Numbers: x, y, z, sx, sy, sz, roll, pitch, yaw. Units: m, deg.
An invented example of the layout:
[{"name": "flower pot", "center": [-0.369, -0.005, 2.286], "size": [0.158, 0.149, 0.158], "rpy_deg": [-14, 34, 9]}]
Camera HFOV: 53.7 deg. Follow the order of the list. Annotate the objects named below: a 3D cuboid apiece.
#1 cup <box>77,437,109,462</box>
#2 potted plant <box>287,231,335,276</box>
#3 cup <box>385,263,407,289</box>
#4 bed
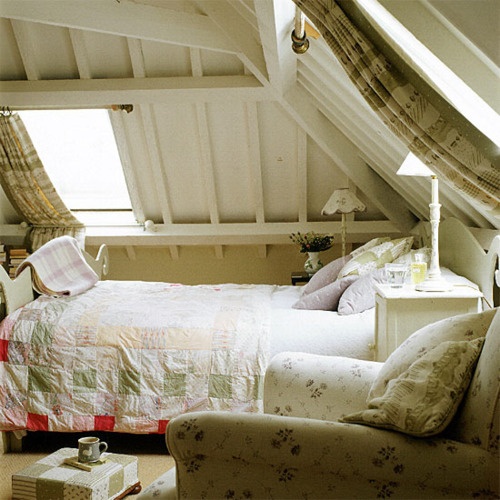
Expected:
[{"name": "cup", "center": [-0.592, 0.749, 1.889], "size": [0.159, 0.098, 0.097], "rpy_deg": [5, -10, -14]}, {"name": "potted plant", "center": [0.468, 0.022, 4.177], "size": [0.421, 0.402, 0.434], "rpy_deg": [-1, -2, 18]}, {"name": "cup", "center": [0.571, 0.100, 2.025], "size": [0.103, 0.095, 0.096], "rpy_deg": [-1, -3, 0]}, {"name": "bed", "center": [-0.144, 0.396, 2.539], "size": [1.928, 0.728, 1.125], "rpy_deg": [-1, 21, 4]}]
